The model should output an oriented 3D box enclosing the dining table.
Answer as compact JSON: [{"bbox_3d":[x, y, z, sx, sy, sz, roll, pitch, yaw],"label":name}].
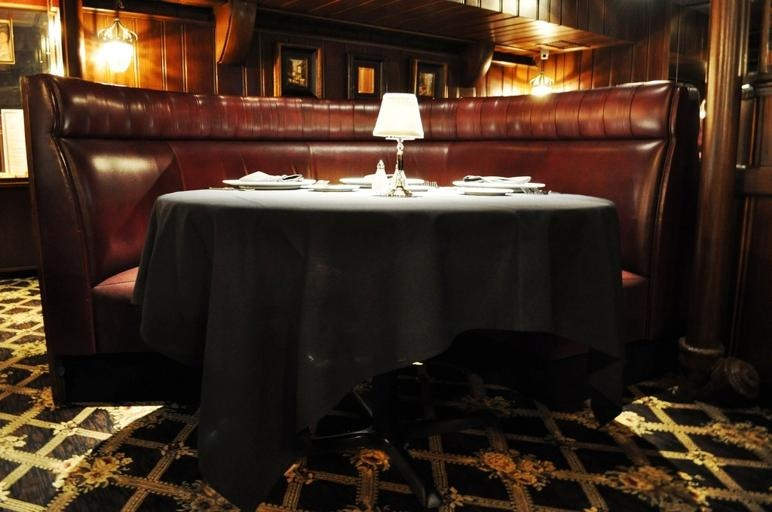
[{"bbox_3d":[-0.077,0.135,2.139,1.309,0.720,1.309,-1,3,-28],"label":"dining table"}]

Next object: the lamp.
[{"bbox_3d":[0.060,-0.477,2.566,0.224,0.422,0.227,3,9,21],"label":"lamp"}]

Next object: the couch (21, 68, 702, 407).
[{"bbox_3d":[-0.102,-0.119,3.582,3.241,1.687,1.570,-1,9,-6],"label":"couch"}]
